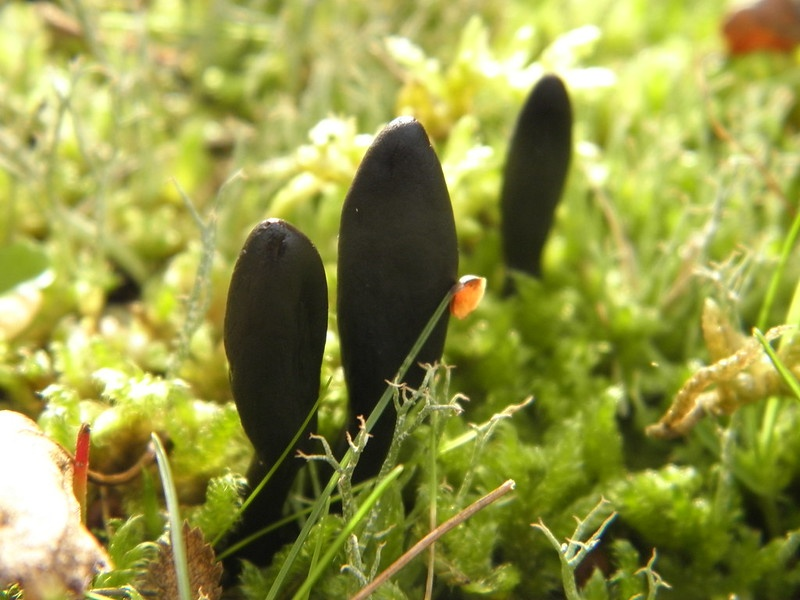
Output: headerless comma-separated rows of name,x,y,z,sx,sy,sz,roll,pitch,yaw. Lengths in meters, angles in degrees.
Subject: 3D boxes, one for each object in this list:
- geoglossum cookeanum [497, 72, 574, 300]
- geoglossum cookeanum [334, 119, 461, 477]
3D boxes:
geoglossum cookeanum,0.106,-0.095,0.741,0.035,0.179,0.043,13,14,25
geoglossum cookeanum,-0.003,-0.012,0.625,0.084,0.229,0.033,7,6,3
